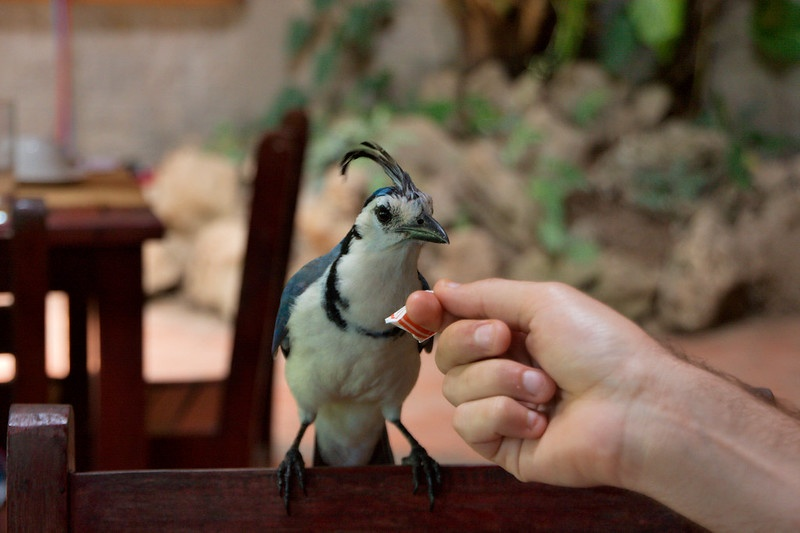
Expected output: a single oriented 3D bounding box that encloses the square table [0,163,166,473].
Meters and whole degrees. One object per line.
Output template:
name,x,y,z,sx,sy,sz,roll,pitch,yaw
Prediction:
square table,-0.484,0.055,1.858,0.445,0.479,0.417,-1,19,-14
